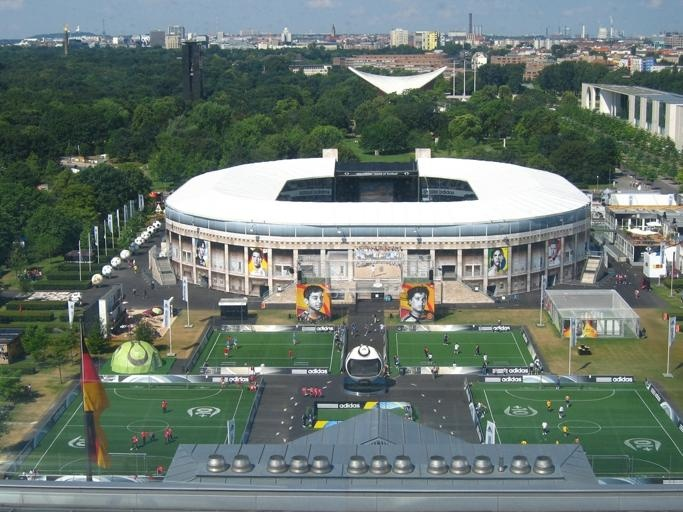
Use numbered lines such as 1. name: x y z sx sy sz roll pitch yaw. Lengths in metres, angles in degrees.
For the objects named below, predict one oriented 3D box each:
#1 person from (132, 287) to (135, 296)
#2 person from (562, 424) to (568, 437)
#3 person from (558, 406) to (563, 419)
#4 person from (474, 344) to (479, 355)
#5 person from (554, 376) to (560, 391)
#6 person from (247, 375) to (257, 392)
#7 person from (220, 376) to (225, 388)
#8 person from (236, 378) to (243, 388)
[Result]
1. person: -27.556 4.666 181.725 0.479 0.627 1.495 3 16 -9
2. person: 23.827 18.444 145.341 0.666 1.526 0.582 6 41 14
3. person: 23.895 16.848 148.522 0.933 1.107 2.769 -1 5 8
4. person: 16.187 11.033 161.624 0.602 1.336 0.239 4 14 -4
5. person: 24.499 14.086 154.206 0.465 1.161 1.392 -1 15 9
6. person: -9.973 14.252 154.494 1.015 1.352 1.860 -5 15 -4
7. person: -13.374 14.108 155.153 0.564 1.037 1.117 -6 15 -10
8. person: -11.413 14.145 155.168 0.883 0.893 0.916 -6 15 -7
